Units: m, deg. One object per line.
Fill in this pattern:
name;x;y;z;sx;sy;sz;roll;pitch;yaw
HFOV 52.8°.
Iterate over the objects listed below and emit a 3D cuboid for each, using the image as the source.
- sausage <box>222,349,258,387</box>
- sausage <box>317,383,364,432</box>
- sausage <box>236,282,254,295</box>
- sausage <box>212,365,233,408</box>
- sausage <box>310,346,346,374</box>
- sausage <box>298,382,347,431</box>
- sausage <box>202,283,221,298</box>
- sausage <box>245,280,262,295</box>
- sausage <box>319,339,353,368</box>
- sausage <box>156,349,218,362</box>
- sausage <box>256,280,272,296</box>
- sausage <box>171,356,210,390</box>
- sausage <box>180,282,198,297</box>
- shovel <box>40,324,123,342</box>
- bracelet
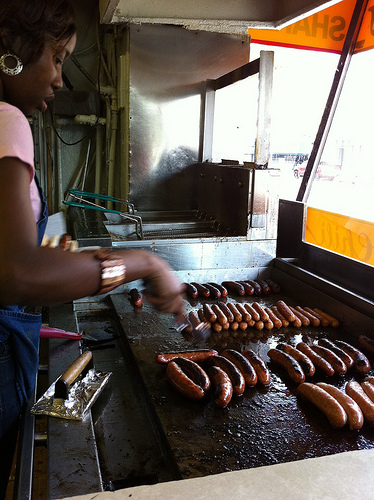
sausage;0.224;0.469;1.531;0.083;0.072;0.272;-3;11;-11
sausage;0.549;0.527;1.284;0.069;0.064;0.249;-4;9;-7
sausage;0.405;0.269;2.604;0.078;0.070;0.115;-5;15;-39
sausage;0.128;0.500;1.379;0.071;0.055;0.204;7;11;-8
sausage;0.625;0.471;1.630;0.066;0.065;0.241;-7;12;-10
sausage;0.473;0.530;1.308;0.066;0.076;0.266;37;-2;-10
sausage;0.172;0.264;2.531;0.052;0.041;0.185;8;12;-14
sausage;0.471;0.253;2.604;0.060;0.039;0.121;-2;16;2
sausage;0.681;0.459;1.692;0.062;0.059;0.254;-6;8;-9
sausage;0.001;0.452;1.613;0.231;0.058;0.051;-2;4;-13
sausage;0.537;0.256;2.629;0.057;0.035;0.109;-3;20;4
sausage;0.008;0.438;1.427;0.071;0.057;0.207;-22;22;-25
sausage;0.014;0.268;2.540;0.070;0.070;0.230;3;10;-9
shovel;-0.529;0.420;1.836;0.347;0.060;0.174;1;5;-15
bracelet;-0.136;0.035;0.572;0.027;0.061;0.071;-7;3;-30
